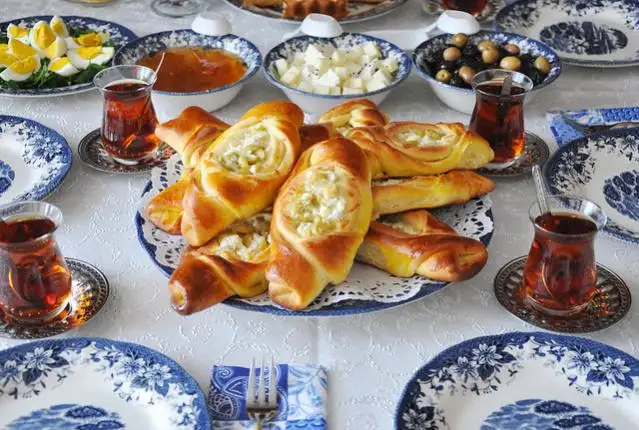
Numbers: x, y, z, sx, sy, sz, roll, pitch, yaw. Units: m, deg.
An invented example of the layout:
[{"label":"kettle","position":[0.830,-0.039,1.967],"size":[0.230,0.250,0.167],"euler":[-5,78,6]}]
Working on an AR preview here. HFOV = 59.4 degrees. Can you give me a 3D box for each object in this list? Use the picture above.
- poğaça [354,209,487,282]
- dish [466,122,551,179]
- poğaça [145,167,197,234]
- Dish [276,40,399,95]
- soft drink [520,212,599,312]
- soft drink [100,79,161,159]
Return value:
[{"label":"poğaça","position":[0.259,0.077,1.350],"size":[0.297,0.081,0.164],"euler":[19,38,37]},{"label":"dish","position":[0.632,-0.214,1.802],"size":[0.203,0.194,0.021],"euler":[25,72,-30]},{"label":"poğaça","position":[-0.378,-0.016,1.509],"size":[0.113,0.061,0.181],"euler":[18,65,13]},{"label":"Dish","position":[0.075,-0.515,1.986],"size":[0.308,0.109,0.309],"euler":[4,30,5]},{"label":"soft drink","position":[0.558,0.103,1.296],"size":[0.145,0.192,0.176],"euler":[-2,46,-3]},{"label":"soft drink","position":[-0.570,-0.283,1.676],"size":[0.153,0.207,0.153],"euler":[14,41,5]}]
